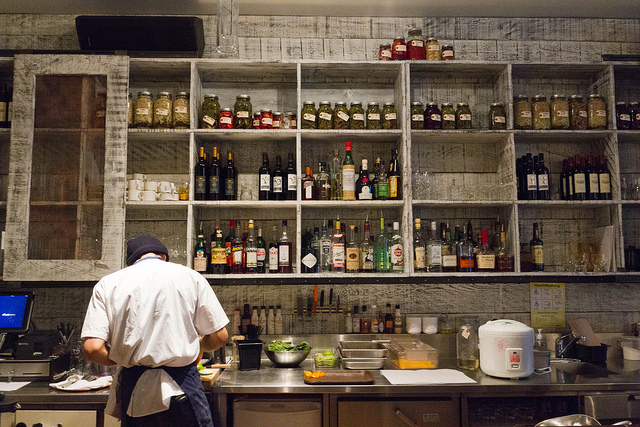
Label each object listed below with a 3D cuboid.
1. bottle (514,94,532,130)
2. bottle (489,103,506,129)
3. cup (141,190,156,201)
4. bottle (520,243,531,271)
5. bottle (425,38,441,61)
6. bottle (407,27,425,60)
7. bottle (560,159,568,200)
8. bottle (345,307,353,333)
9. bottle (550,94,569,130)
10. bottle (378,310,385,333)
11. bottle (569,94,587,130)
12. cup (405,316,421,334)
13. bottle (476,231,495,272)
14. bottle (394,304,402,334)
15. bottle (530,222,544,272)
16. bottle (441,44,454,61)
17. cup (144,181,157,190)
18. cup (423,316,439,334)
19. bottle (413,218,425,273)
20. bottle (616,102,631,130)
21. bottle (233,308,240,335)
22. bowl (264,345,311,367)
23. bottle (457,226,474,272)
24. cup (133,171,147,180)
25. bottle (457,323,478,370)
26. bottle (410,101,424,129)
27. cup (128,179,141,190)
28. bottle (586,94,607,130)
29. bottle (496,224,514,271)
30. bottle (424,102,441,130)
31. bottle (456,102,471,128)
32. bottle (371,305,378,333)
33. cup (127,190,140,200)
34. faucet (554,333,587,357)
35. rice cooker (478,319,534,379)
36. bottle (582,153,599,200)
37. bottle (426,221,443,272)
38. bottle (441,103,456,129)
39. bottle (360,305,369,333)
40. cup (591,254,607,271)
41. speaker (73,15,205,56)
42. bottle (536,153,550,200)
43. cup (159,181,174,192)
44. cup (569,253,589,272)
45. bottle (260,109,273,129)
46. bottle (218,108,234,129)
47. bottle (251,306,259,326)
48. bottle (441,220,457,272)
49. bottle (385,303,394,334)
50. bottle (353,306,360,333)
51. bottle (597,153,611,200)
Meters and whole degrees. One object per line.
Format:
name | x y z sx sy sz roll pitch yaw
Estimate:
bottle | 1.656 -0.820 7.138 0.152 0.285 0.067 -2 -6 8
bottle | 1.453 -0.798 7.160 0.142 0.227 0.067 -2 -6 10
cup | -1.384 -0.140 7.018 0.082 0.073 0.101 0 3 13
bottle | 1.690 0.356 7.186 0.090 0.248 0.315 -2 -6 13
bottle | 0.928 -1.350 7.194 0.107 0.182 0.047 0 -6 -5
bottle | 0.792 -1.394 7.214 0.155 0.270 0.073 -1 -6 7
bottle | 2.031 -0.274 7.270 0.057 0.332 0.237 -2 -6 10
bottle | 0.231 0.885 7.205 0.059 0.194 0.036 -1 -6 0
bottle | 1.957 -0.824 7.129 0.148 0.279 0.053 -1 -6 0
bottle | 0.506 0.894 7.239 0.046 0.173 0.063 -1 -6 4
bottle | 2.113 -0.826 7.150 0.139 0.282 0.057 -2 -6 10
cup | 0.771 0.919 7.209 0.124 0.146 0.107 -1 -5 3
bottle | 1.344 0.299 7.096 0.157 0.326 0.243 -2 -6 11
bottle | 0.647 0.871 7.250 0.066 0.230 0.105 -2 -6 12
bottle | 1.773 0.272 7.177 0.092 0.393 0.210 -2 -6 11
bottle | 1.051 -1.321 7.206 0.134 0.135 0.130 1 -3 0
cup | -1.369 -0.225 7.042 0.077 0.054 0.075 0 0 0
cup | 0.902 0.922 7.175 0.133 0.130 0.130 0 -9 0
bottle | 0.816 0.254 7.177 0.104 0.450 0.375 -1 -5 7
bottle | 2.488 -0.795 7.163 0.128 0.229 0.075 -2 -6 10
bottle | -0.685 0.883 7.192 0.077 0.215 0.037 3 -7 -31
bowl | -0.263 1.148 7.008 0.350 0.163 0.197 -1 -5 -1
bottle | 1.194 0.340 7.085 0.165 0.264 0.141 0 -6 -11
cup | -1.477 -0.303 7.099 0.059 0.055 0.086 -2 -6 18
bottle | 1.173 1.071 7.013 0.196 0.347 0.163 -3 -6 21
bottle | 0.795 -0.796 7.143 0.115 0.225 0.062 0 -6 -4
cup | -1.496 -0.229 7.017 0.086 0.060 0.084 -2 -3 0
bottle | 2.268 -0.826 7.143 0.162 0.281 0.062 0 -6 -5
bottle | 1.478 0.275 7.122 0.129 0.399 0.189 0 -6 -6
bottle | 0.921 -0.792 7.144 0.141 0.232 0.094 -1 -6 3
bottle | 1.174 -0.799 7.153 0.122 0.230 0.075 -1 -6 3
bottle | 0.451 0.869 7.230 0.064 0.229 0.082 -1 -6 3
cup | -1.496 -0.143 7.006 0.081 0.057 0.079 0 -6 0
faucet | 2.042 1.085 7.172 0.258 0.240 0.143 0 -3 21
rice cooker | 1.434 1.044 6.729 0.392 0.420 0.121 -1 -6 3
bottle | 2.216 -0.287 7.120 0.104 0.356 0.071 -3 -6 20
bottle | 0.930 0.275 7.155 0.125 0.405 0.282 -2 -6 8
bottle | 1.051 -0.792 7.145 0.121 0.229 0.076 -1 -6 3
bottle | 0.370 0.869 7.230 0.070 0.230 0.094 -3 -6 20
cup | 2.262 0.405 7.163 0.124 0.180 0.116 2 -9 0
speaker | -1.495 -1.440 7.105 0.951 0.284 0.180 0 -5 -3
bottle | 1.833 -0.295 7.191 0.094 0.390 0.247 -2 -6 16
cup | -1.245 -0.218 7.047 0.082 0.075 0.104 -2 -8 7
cup | 2.125 0.399 7.153 0.153 0.161 0.149 0 1 0
bottle | -0.441 -0.763 7.202 0.138 0.194 0.142 2 -7 0
bottle | -0.754 -0.765 7.107 0.163 0.187 0.139 2 -10 -3
bottle | -0.541 0.841 7.227 0.064 0.154 0.045 -1 -6 1
bottle | 1.052 0.278 7.106 0.130 0.391 0.176 -5 -7 36
bottle | 0.569 0.865 7.243 0.079 0.240 0.084 -1 -6 0
bottle | 0.296 0.873 7.215 0.067 0.220 0.050 0 -6 -7
bottle | 2.315 -0.285 7.116 0.112 0.353 0.067 1 -6 -13
